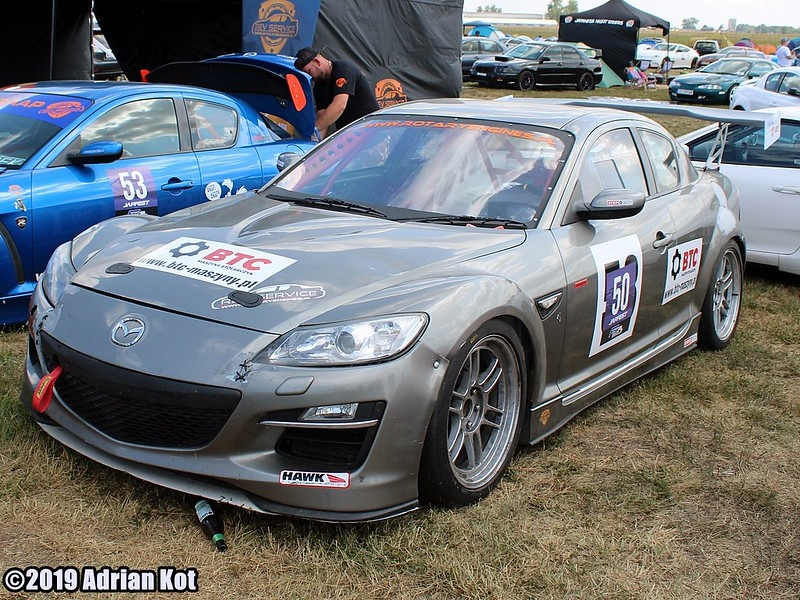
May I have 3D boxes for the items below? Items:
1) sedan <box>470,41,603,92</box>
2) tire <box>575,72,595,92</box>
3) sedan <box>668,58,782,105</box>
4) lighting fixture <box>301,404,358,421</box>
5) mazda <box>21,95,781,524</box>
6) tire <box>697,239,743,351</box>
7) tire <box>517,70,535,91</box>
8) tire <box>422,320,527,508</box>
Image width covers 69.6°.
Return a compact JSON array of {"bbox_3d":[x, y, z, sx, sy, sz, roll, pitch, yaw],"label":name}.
[{"bbox_3d":[5.720,-9.399,23.161,5.234,1.839,1.384,-11,27,-31],"label":"sedan"},{"bbox_3d":[7.790,-9.217,24.188,1.031,0.862,0.378,-9,18,-36],"label":"tire"},{"bbox_3d":[13.649,-9.464,24.006,3.035,0.763,1.272,13,33,10],"label":"sedan"},{"bbox_3d":[-0.245,0.415,2.121,0.133,0.031,0.092,-3,-4,6],"label":"lighting fixture"},{"bbox_3d":[0.499,-0.114,3.251,3.822,0.996,2.127,-13,20,-41],"label":"mazda"},{"bbox_3d":[2.453,-0.055,4.412,0.260,0.682,0.766,6,26,39],"label":"tire"},{"bbox_3d":[4.982,-8.552,22.414,0.252,0.722,1.025,22,29,36],"label":"tire"},{"bbox_3d":[0.313,0.479,2.482,0.239,0.627,0.675,17,62,33],"label":"tire"}]
